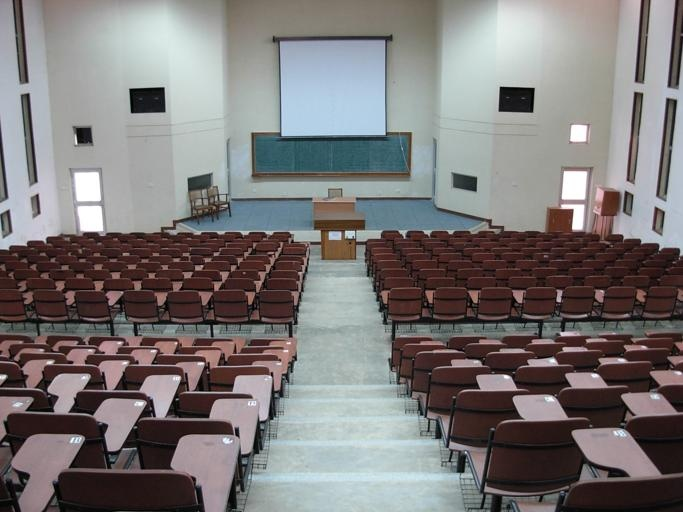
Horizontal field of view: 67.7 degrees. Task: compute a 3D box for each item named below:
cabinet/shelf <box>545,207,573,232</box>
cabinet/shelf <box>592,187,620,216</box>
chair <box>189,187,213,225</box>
[{"bbox_3d":[7.797,-1.256,18.230,0.855,0.869,0.851,0,13,15],"label":"cabinet/shelf"},{"bbox_3d":[9.257,-2.064,18.046,0.777,1.168,1.126,-2,11,-6],"label":"cabinet/shelf"},{"bbox_3d":[-5.418,-1.867,19.537,0.949,1.538,0.915,-13,24,-36],"label":"chair"}]
